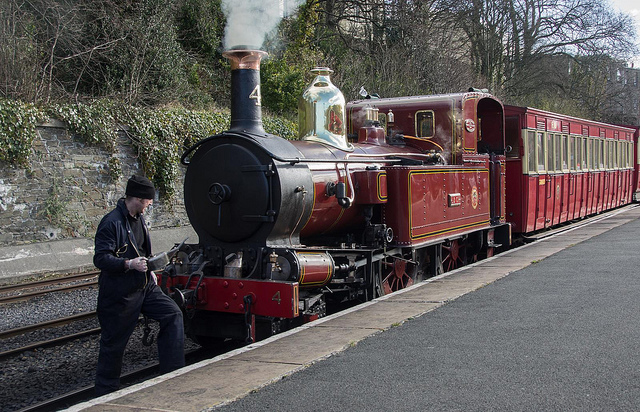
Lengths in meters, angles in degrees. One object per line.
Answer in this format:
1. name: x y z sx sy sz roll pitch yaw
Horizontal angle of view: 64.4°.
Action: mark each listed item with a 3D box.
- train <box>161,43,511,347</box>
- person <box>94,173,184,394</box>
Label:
1. train: 0.775 -0.384 10.524 3.315 4.528 8.054 5 9 39
2. person: -2.369 1.000 6.719 1.109 2.824 1.108 0 14 -22
